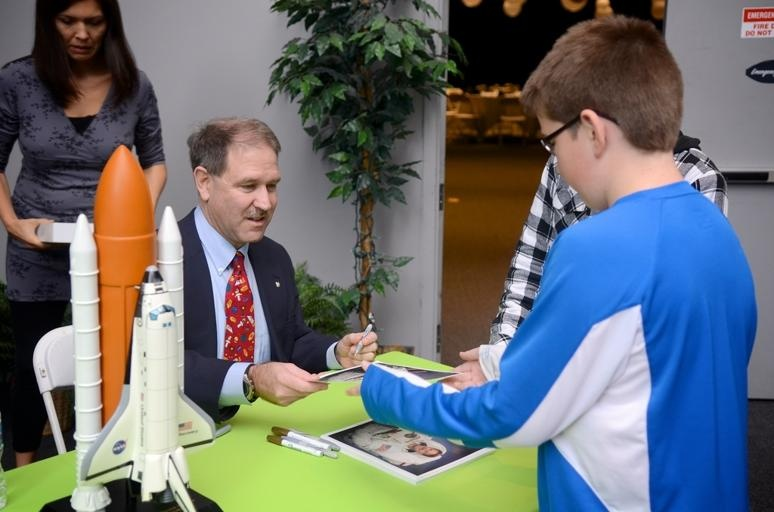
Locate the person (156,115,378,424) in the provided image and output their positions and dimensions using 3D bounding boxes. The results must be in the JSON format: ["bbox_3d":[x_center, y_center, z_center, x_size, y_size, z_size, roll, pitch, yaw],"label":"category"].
[{"bbox_3d":[-0.518,-0.045,3.185,1.027,1.542,0.873,5,11,28],"label":"person"}]

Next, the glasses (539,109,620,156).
[{"bbox_3d":[0.532,-0.340,1.963,0.114,0.128,0.036,7,12,21],"label":"glasses"}]
